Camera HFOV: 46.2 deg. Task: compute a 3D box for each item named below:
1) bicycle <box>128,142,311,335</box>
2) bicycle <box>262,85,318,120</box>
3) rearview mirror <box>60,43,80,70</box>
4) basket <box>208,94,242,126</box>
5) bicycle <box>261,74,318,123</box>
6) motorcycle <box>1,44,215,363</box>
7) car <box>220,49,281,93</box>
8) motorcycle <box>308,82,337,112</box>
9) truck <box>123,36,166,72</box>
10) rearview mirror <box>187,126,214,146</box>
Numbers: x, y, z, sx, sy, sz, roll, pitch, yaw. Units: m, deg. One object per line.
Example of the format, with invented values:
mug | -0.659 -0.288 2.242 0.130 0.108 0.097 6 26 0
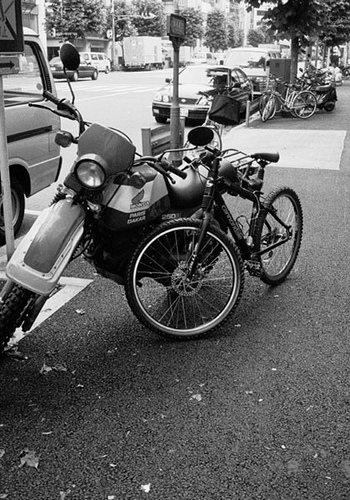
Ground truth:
bicycle | 0.176 -0.111 3.418 0.901 1.280 2.034 2 22 45
bicycle | 4.216 -5.631 15.572 2.707 1.347 1.016 -8 14 -36
rearview mirror | -0.622 -1.138 2.420 0.125 0.129 0.029 -15 37 28
basket | 0.342 -0.914 2.738 0.213 0.159 0.121 19 -11 -41
bicycle | 4.308 -5.854 16.002 2.253 1.507 1.052 2 14 11
motorcycle | -0.779 -0.374 2.885 1.373 1.888 1.781 -9 14 -39
car | 3.367 -7.882 19.391 2.366 2.039 3.898 6 33 17
motorcycle | 6.141 -6.423 17.129 1.502 0.989 0.768 -20 38 -32
truck | -4.760 -30.842 64.617 3.816 4.788 8.068 8 28 22
rearview mirror | 0.164 -0.695 2.548 0.127 0.131 0.027 -1 51 -2
